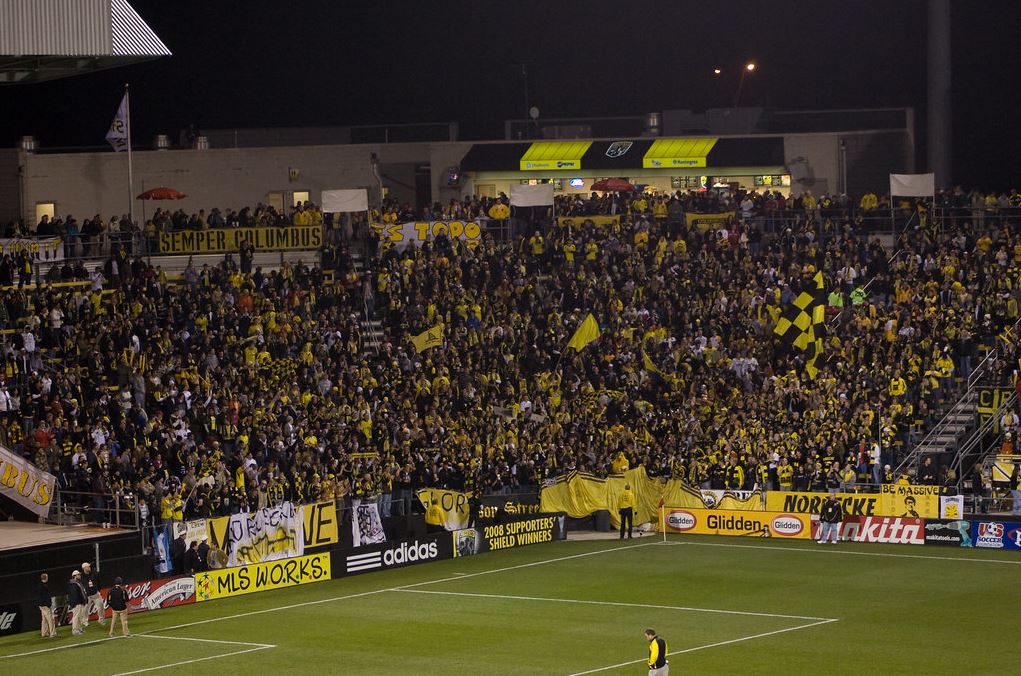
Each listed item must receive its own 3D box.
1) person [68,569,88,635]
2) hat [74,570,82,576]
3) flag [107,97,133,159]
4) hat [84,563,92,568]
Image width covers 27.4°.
[{"bbox_3d":[-19.371,11.795,93.639,0.727,2.810,0.974,-2,-2,13],"label":"person"},{"bbox_3d":[-19.368,10.470,93.402,0.252,0.338,0.355,3,-22,-5],"label":"hat"},{"bbox_3d":[-23.269,-12.739,124.476,1.188,4.225,10.758,-1,-3,-10],"label":"flag"},{"bbox_3d":[-19.078,10.192,94.214,0.234,0.235,0.282,0,-7,-3],"label":"hat"}]
